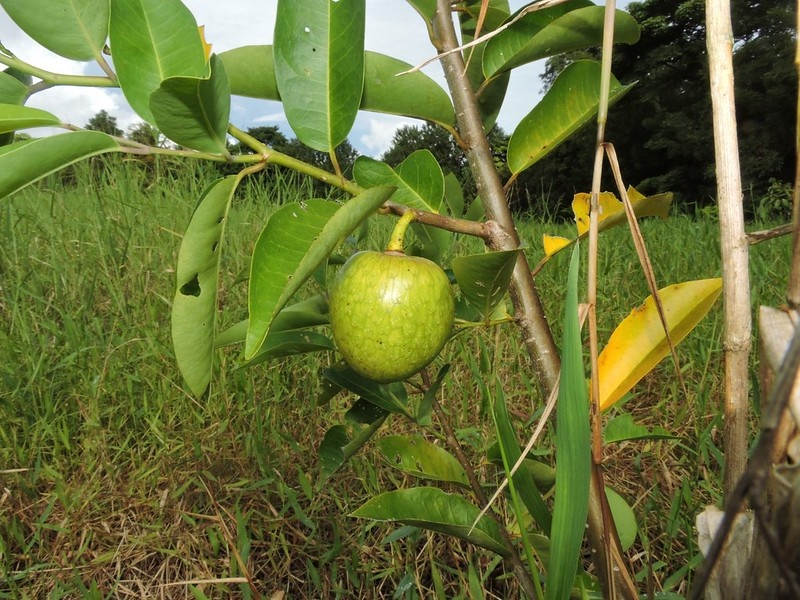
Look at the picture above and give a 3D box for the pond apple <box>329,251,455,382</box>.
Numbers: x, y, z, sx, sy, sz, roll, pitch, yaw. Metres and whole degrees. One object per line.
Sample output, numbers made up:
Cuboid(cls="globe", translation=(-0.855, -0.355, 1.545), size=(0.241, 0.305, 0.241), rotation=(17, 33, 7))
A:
Cuboid(cls="pond apple", translation=(-0.004, 0.043, 1.312), size=(0.259, 0.299, 0.250), rotation=(2, 1, -43))
